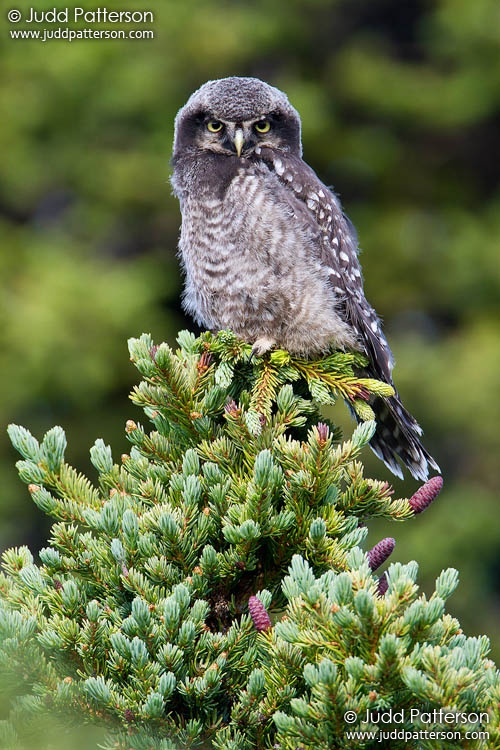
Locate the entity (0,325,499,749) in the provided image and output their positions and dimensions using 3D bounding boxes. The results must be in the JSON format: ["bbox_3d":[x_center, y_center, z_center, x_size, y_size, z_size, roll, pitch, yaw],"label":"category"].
[{"bbox_3d":[-0.030,0.474,3.788,1.493,1.173,0.972,-2,6,10],"label":"entity"}]

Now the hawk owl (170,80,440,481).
[{"bbox_3d":[0.224,-0.414,5.163,1.081,1.405,0.701,12,-19,-16],"label":"hawk owl"}]
